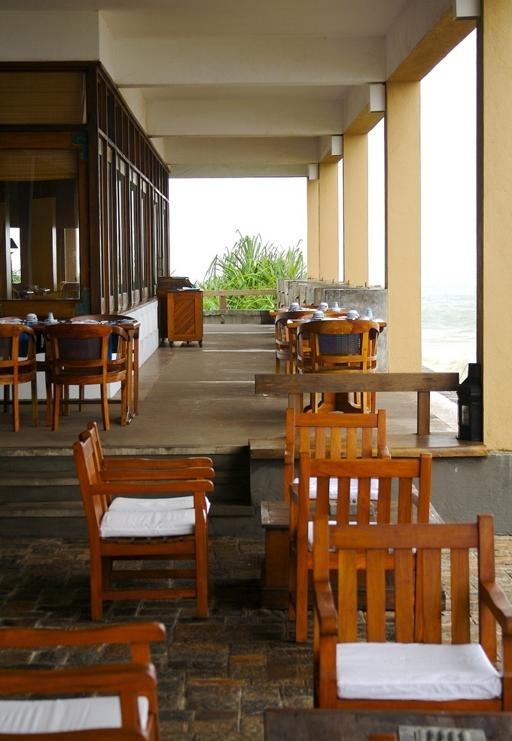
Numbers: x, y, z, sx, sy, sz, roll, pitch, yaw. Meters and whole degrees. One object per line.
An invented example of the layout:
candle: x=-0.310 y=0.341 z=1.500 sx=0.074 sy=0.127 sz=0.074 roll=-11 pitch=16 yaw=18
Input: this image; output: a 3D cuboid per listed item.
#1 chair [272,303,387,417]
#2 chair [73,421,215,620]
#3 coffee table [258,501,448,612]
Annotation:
chair: x=0.571 y=-0.179 z=5.231 sx=0.903 sy=1.039 sz=0.919 roll=0 pitch=9 yaw=1
chair: x=-0.456 y=0.675 z=2.917 sx=0.796 sy=1.086 sz=0.698 roll=-1 pitch=4 yaw=-6
coffee table: x=0.516 y=0.837 z=2.863 sx=0.789 sy=0.370 sz=0.787 roll=33 pitch=-18 yaw=-15
